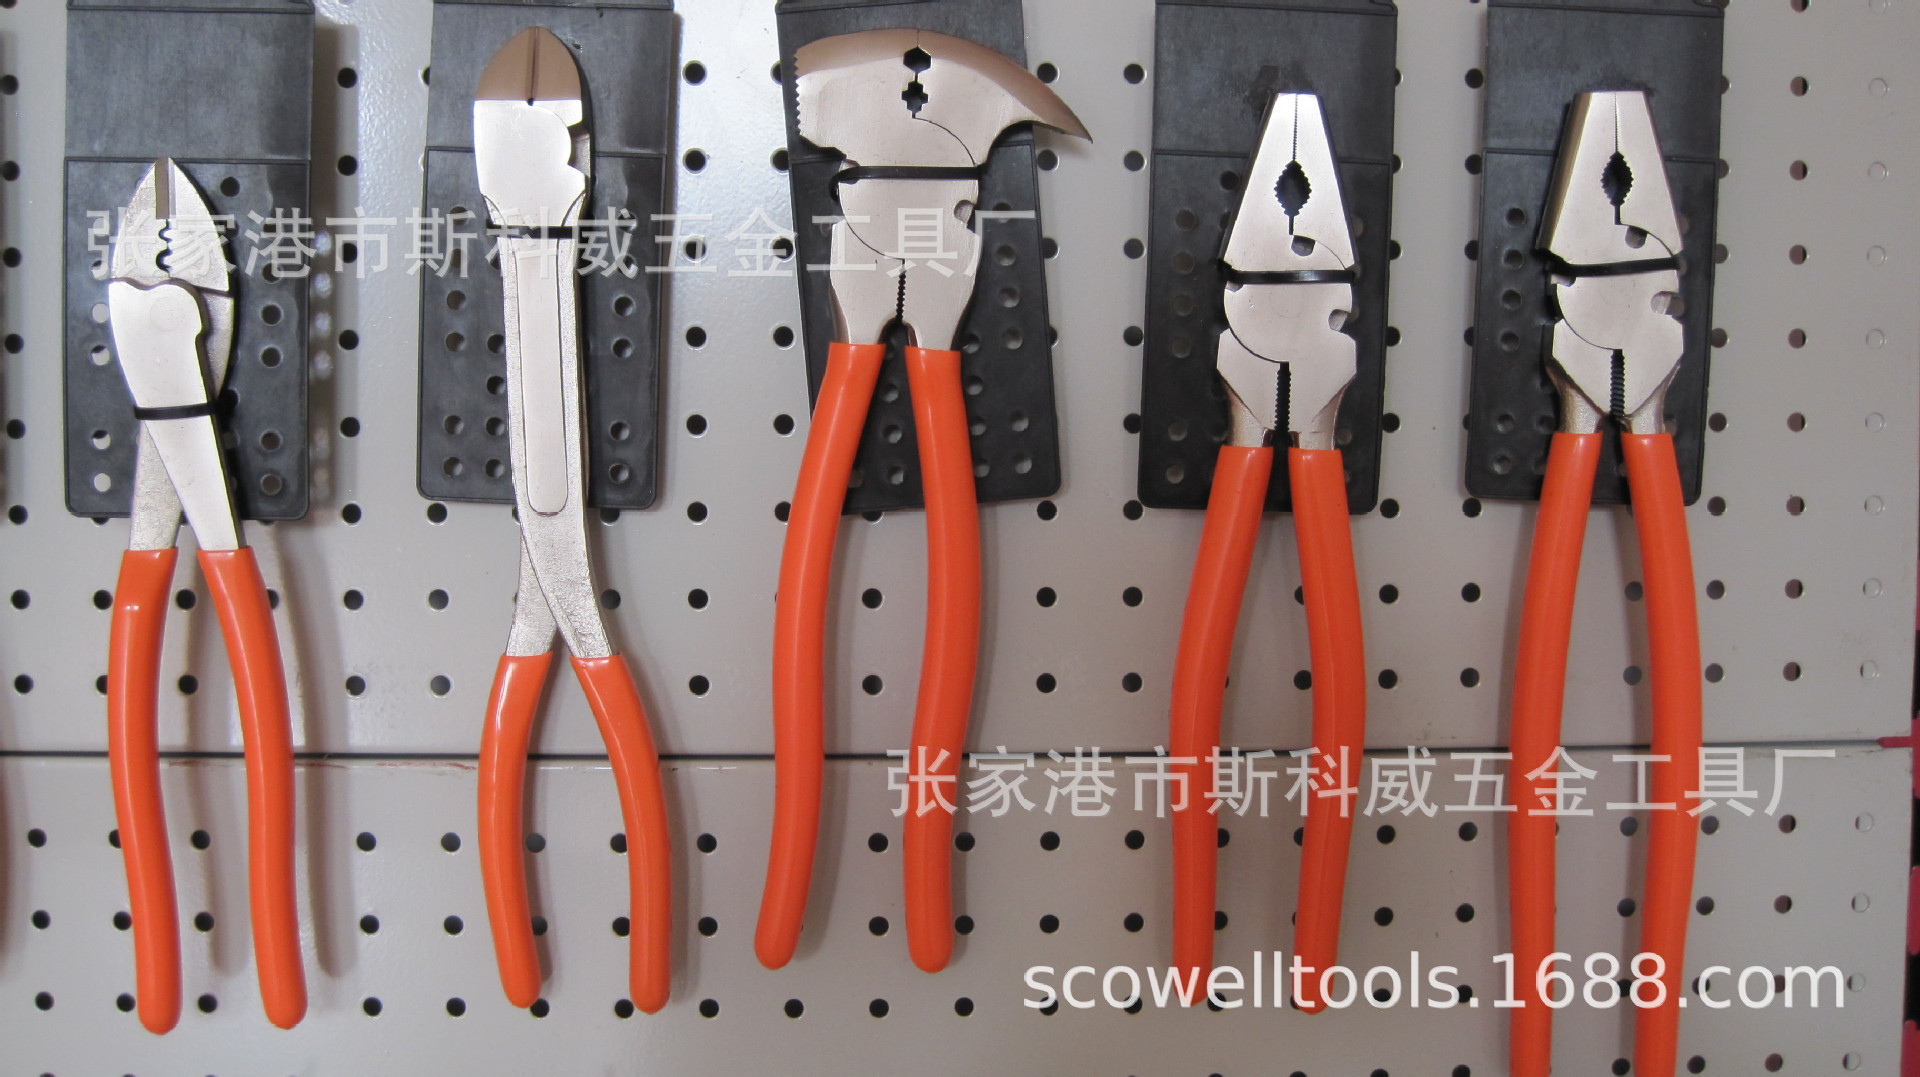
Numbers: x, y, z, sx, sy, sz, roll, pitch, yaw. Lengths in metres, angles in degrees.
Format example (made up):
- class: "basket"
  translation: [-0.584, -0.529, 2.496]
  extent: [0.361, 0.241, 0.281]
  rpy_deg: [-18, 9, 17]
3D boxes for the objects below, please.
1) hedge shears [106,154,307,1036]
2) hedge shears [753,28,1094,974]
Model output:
- class: "hedge shears"
  translation: [-0.728, 0.059, 1.851]
  extent: [0.209, 0.902, 0.040]
  rpy_deg: [3, -1, -4]
- class: "hedge shears"
  translation: [-0.038, -0.032, 1.844]
  extent: [0.277, 0.852, 0.046]
  rpy_deg: [3, -1, -6]
